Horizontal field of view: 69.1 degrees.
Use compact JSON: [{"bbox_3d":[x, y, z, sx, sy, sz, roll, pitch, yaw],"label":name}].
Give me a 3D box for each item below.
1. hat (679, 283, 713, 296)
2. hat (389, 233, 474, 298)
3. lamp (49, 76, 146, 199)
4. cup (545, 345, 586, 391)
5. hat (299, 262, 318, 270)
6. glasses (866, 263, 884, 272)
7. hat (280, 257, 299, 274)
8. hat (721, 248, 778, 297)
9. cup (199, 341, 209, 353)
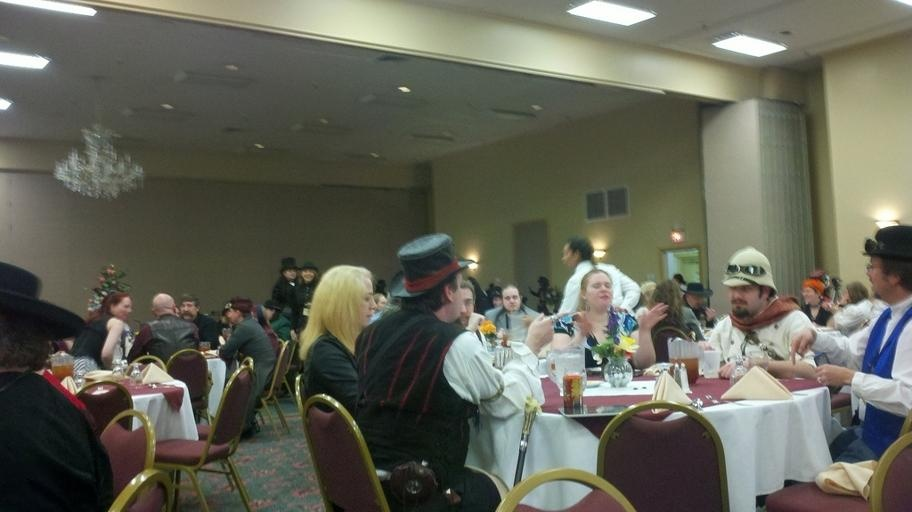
[{"bbox_3d":[3.581,0.515,10.121,0.400,0.143,0.347,-3,-7,44],"label":"hat"},{"bbox_3d":[-0.188,0.051,4.806,0.502,0.240,0.420,-30,17,-19],"label":"hat"},{"bbox_3d":[-5.500,-1.689,10.514,1.572,1.812,1.458,2,0,-42],"label":"lamp"},{"bbox_3d":[0.802,0.886,5.367,0.397,0.387,0.244,-3,-1,-16],"label":"cup"},{"bbox_3d":[-2.677,0.188,11.935,0.294,0.097,0.312,-1,-5,8],"label":"hat"},{"bbox_3d":[3.336,0.083,5.265,0.074,0.023,0.074,-22,-9,9],"label":"glasses"},{"bbox_3d":[-3.149,0.152,12.415,0.377,0.212,0.416,0,-10,-22],"label":"hat"},{"bbox_3d":[2.644,0.146,5.993,0.363,0.302,0.470,-7,-11,42],"label":"hat"},{"bbox_3d":[-3.501,1.244,9.137,0.159,0.150,0.158,2,-2,0],"label":"cup"}]
